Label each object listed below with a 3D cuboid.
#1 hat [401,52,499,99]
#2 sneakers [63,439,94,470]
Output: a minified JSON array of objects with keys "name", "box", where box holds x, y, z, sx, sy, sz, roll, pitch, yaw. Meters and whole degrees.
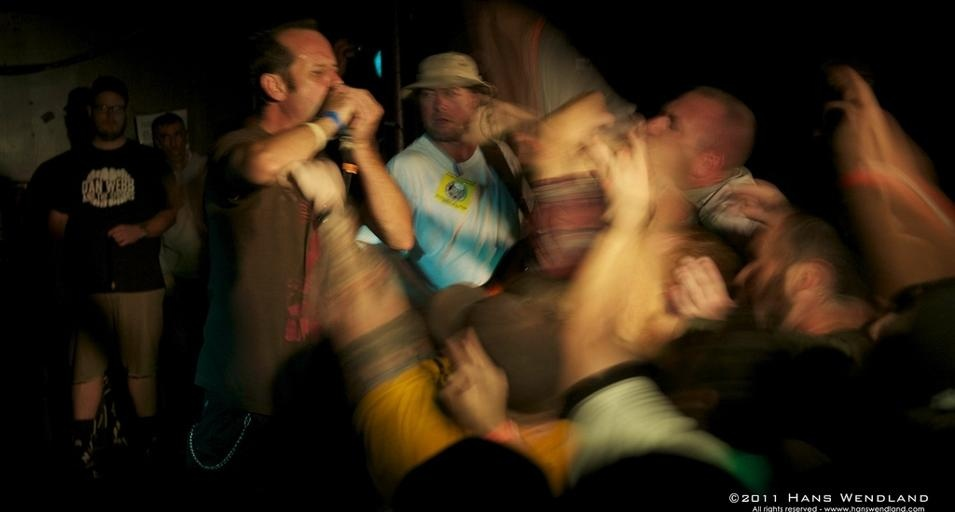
[{"name":"hat","box":[-0.178,-1.132,5.298,0.430,0.130,0.307,0,0,-10]},{"name":"sneakers","box":[-2.498,1.247,5.302,0.141,0.210,0.058,-25,0,-6]}]
